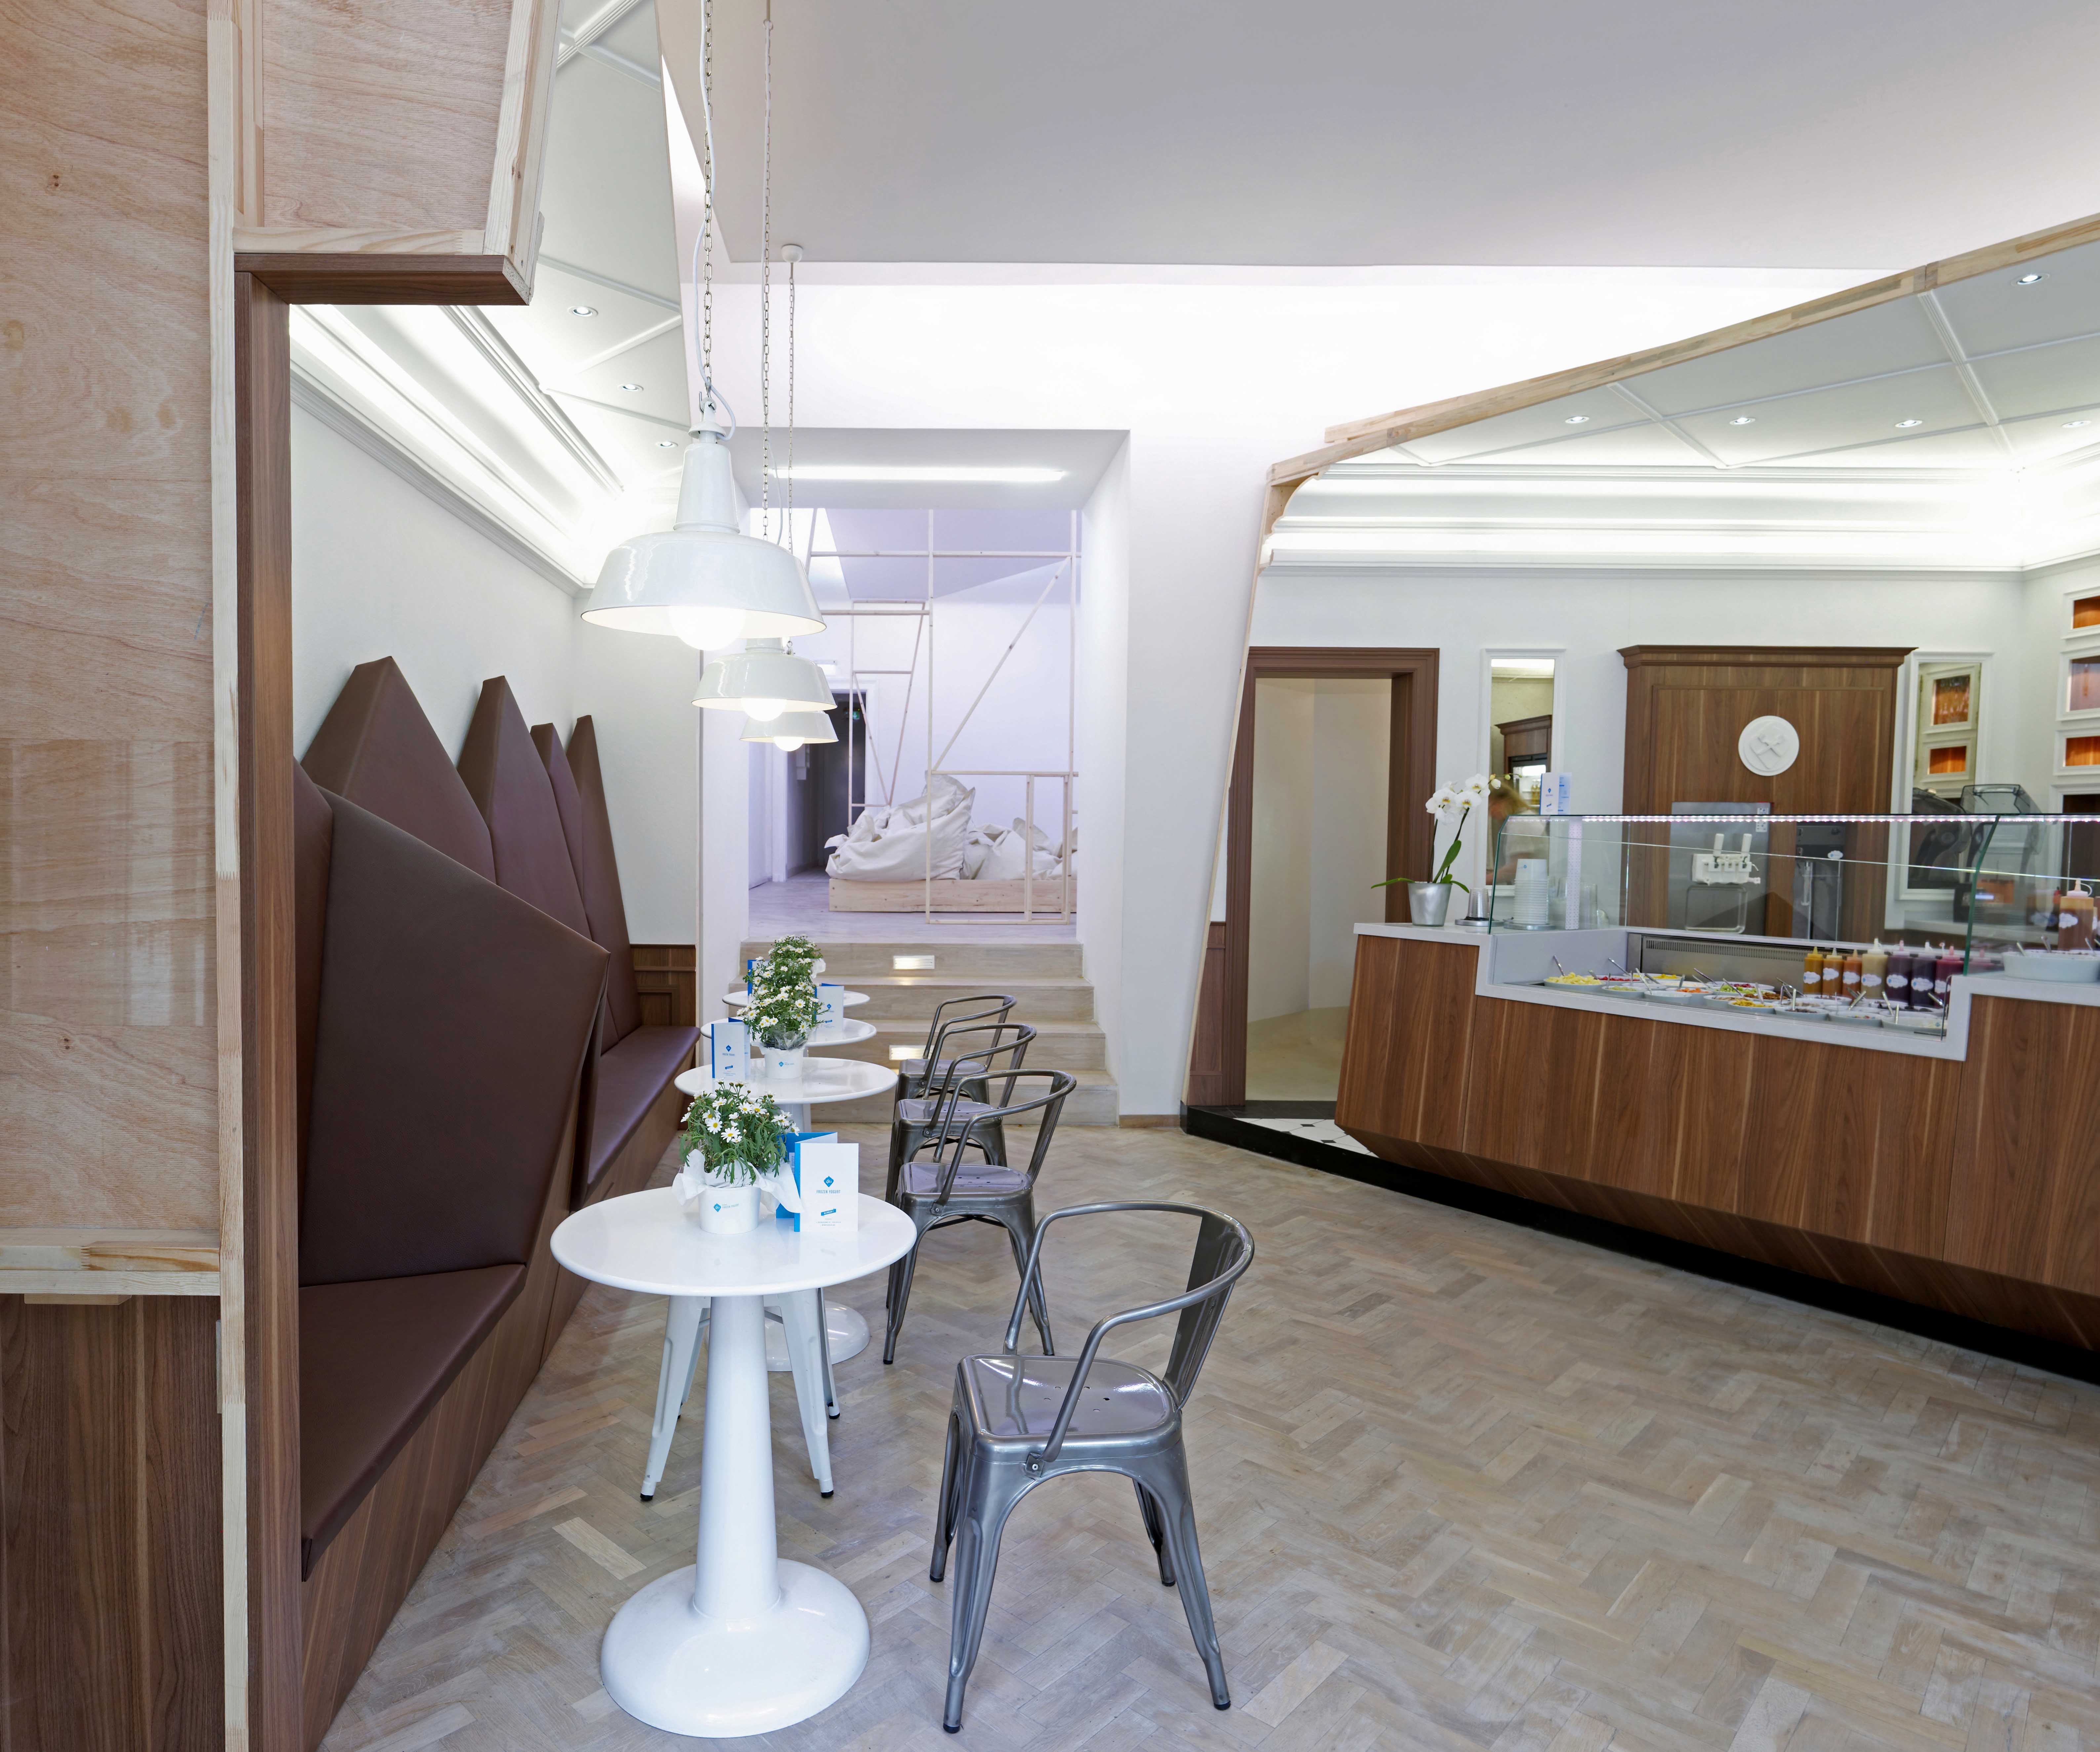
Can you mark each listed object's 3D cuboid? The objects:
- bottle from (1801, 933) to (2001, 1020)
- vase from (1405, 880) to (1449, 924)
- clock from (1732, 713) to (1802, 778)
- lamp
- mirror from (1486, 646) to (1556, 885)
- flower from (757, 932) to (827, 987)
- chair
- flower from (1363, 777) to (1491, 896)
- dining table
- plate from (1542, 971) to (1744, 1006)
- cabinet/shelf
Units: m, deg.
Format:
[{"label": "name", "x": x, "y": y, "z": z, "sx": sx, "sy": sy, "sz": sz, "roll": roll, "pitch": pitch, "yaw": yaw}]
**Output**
[{"label": "bottle", "x": 2.886, "y": 0.328, "z": 4.941, "sx": 0.061, "sy": 0.274, "sz": 0.553, "roll": -2, "pitch": 7, "yaw": -26}, {"label": "vase", "x": 1.714, "y": 0.116, "z": 6.465, "sx": 0.160, "sy": 0.229, "sz": 0.181, "roll": -1, "pitch": 3, "yaw": 4}, {"label": "clock", "x": 3.058, "y": -0.559, "z": 6.065, "sx": 0.234, "sy": 0.263, "sz": 0.033, "roll": -3, "pitch": 0, "yaw": 8}, {"label": "lamp", "x": -1.041, "y": -1.460, "z": 4.580, "sx": 0.683, "sy": 2.110, "sz": 3.265, "roll": -1, "pitch": 6, "yaw": -11}, {"label": "mirror", "x": 2.081, "y": -0.489, "z": 6.298, "sx": 0.298, "sy": 0.977, "sz": 0.657, "roll": 3, "pitch": 7, "yaw": 17}, {"label": "flower", "x": -0.945, "y": 0.375, "z": 5.221, "sx": 0.234, "sy": 0.278, "sz": 0.250, "roll": -4, "pitch": 14, "yaw": -20}, {"label": "chair", "x": -0.068, "y": 1.112, "z": 3.827, "sx": 1.087, "sy": 1.750, "sz": 1.135, "roll": 0, "pitch": 2, "yaw": -11}, {"label": "flower", "x": 1.871, "y": -0.202, "z": 6.564, "sx": 0.261, "sy": 0.501, "sz": 0.490, "roll": 2, "pitch": 6, "yaw": 11}, {"label": "dining table", "x": -0.606, "y": 1.219, "z": 3.466, "sx": 0.948, "sy": 1.159, "sz": 0.969, "roll": -1, "pitch": 1, "yaw": -14}, {"label": "plate", "x": 2.346, "y": 0.435, "z": 5.699, "sx": 0.116, "sy": 0.124, "sz": 0.801, "roll": -4, "pitch": 8, "yaw": -39}, {"label": "cabinet/shelf", "x": 2.795, "y": -0.374, "z": 5.763, "sx": 1.080, "sy": 1.134, "sz": 1.140, "roll": 5, "pitch": 8, "yaw": 32}]
